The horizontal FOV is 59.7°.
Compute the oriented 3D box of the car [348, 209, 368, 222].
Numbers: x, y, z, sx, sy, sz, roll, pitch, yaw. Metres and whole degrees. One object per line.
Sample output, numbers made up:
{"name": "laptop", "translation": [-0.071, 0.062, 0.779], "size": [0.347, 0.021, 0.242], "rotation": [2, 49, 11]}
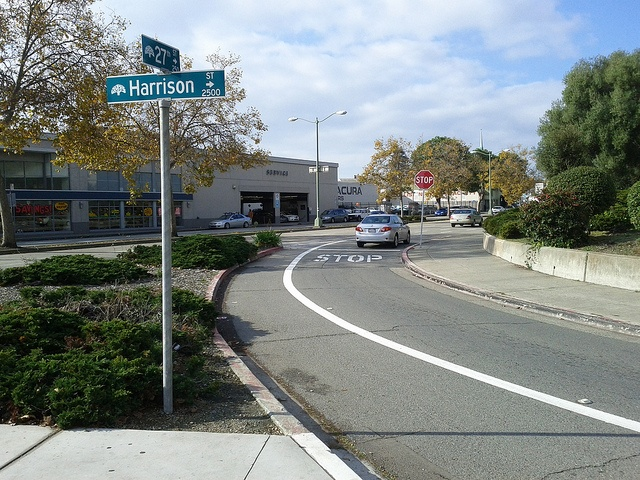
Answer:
{"name": "car", "translation": [4.495, -2.838, 65.206], "size": [1.496, 1.233, 3.243], "rotation": [-1, -2, 35]}

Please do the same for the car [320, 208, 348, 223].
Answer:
{"name": "car", "translation": [1.474, -2.652, 60.899], "size": [1.521, 1.125, 2.619], "rotation": [-3, -4, 43]}

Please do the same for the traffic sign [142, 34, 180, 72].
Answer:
{"name": "traffic sign", "translation": [-1.928, -2.254, 6.808], "size": [0.012, 0.335, 0.542], "rotation": [-3, -1, 37]}

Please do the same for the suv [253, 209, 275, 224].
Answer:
{"name": "suv", "translation": [-5.944, -2.456, 59.817], "size": [2.259, 1.266, 4.960], "rotation": [-1, 7, -3]}

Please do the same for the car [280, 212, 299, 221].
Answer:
{"name": "car", "translation": [-3.481, -2.564, 63.520], "size": [1.908, 0.647, 0.874], "rotation": [-3, -1, 33]}

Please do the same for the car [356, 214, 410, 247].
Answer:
{"name": "car", "translation": [3.108, -0.547, 25.654], "size": [1.148, 0.933, 2.703], "rotation": [-1, 4, 21]}

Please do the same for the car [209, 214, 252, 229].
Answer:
{"name": "car", "translation": [-8.015, -1.725, 50.616], "size": [1.941, 1.227, 4.044], "rotation": [3, 8, 22]}
